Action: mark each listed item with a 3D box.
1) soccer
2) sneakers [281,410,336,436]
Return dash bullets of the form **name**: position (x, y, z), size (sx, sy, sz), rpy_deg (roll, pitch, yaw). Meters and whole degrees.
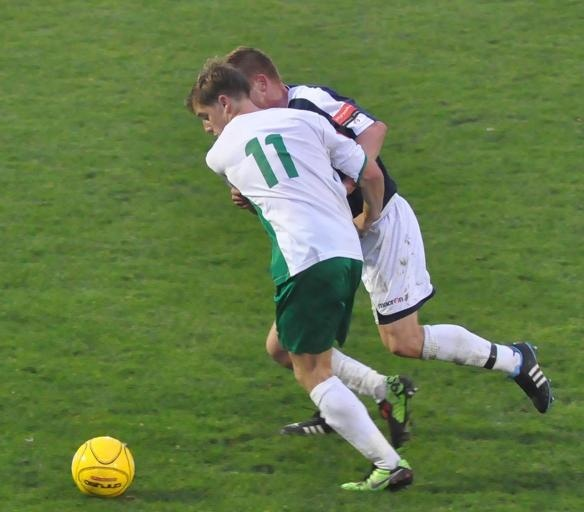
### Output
- **soccer**: position (-1.124, 1.275, 9.275), size (0.392, 0.347, 0.357), rpy_deg (13, 57, -5)
- **sneakers**: position (0.101, 1.053, 9.638), size (0.392, 0.124, 0.146), rpy_deg (1, 92, 0)
